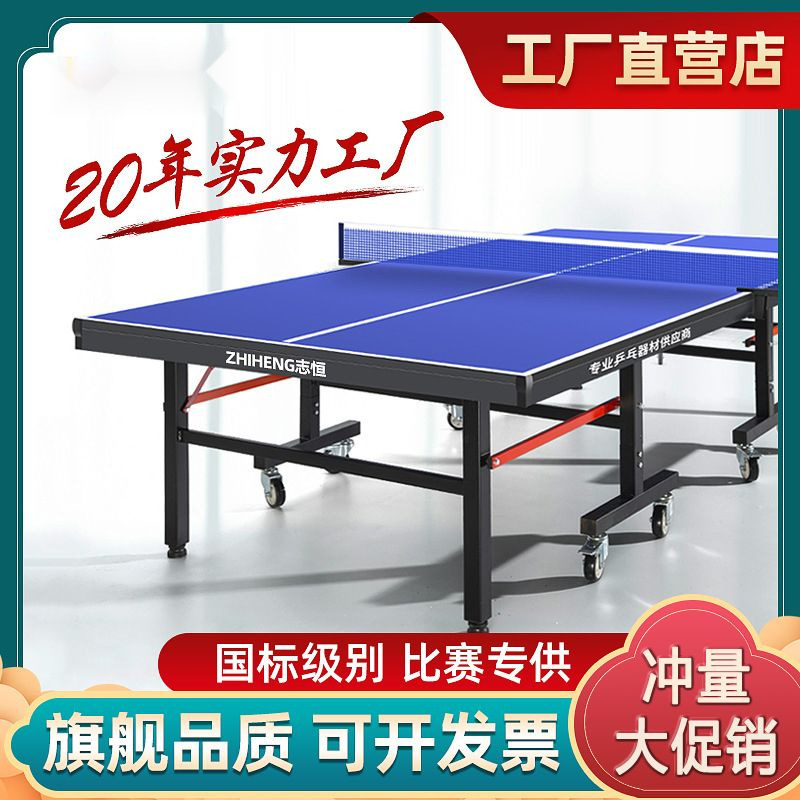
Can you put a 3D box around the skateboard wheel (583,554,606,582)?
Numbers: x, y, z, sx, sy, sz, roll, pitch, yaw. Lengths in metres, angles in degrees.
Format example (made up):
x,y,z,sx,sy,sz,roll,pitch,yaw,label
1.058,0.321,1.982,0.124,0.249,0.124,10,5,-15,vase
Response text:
x,y,z,sx,sy,sz,roll,pitch,yaw,label
0.720,0.625,3.189,0.053,0.118,0.096,1,-1,35,skateboard wheel

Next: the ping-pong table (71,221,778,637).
x,y,z,sx,sy,sz,roll,pitch,yaw,label
0.326,-0.044,3.677,2.138,1.239,2.592,7,14,32,ping-pong table

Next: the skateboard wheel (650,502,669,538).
x,y,z,sx,sy,sz,roll,pitch,yaw,label
1.100,0.508,3.624,0.040,0.102,0.113,-3,-39,21,skateboard wheel
